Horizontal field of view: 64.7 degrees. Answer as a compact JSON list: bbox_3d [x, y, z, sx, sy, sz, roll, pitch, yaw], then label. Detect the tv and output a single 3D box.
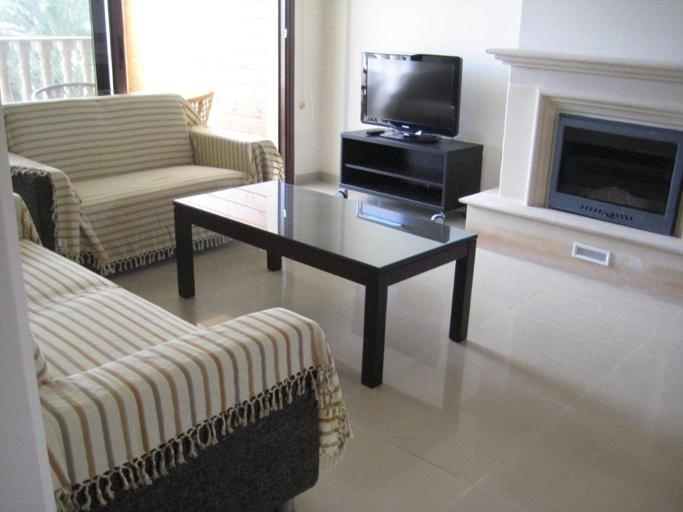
[{"bbox_3d":[0.624,-1.363,4.579,0.742,0.500,0.081,20,31,41],"label":"tv"}]
